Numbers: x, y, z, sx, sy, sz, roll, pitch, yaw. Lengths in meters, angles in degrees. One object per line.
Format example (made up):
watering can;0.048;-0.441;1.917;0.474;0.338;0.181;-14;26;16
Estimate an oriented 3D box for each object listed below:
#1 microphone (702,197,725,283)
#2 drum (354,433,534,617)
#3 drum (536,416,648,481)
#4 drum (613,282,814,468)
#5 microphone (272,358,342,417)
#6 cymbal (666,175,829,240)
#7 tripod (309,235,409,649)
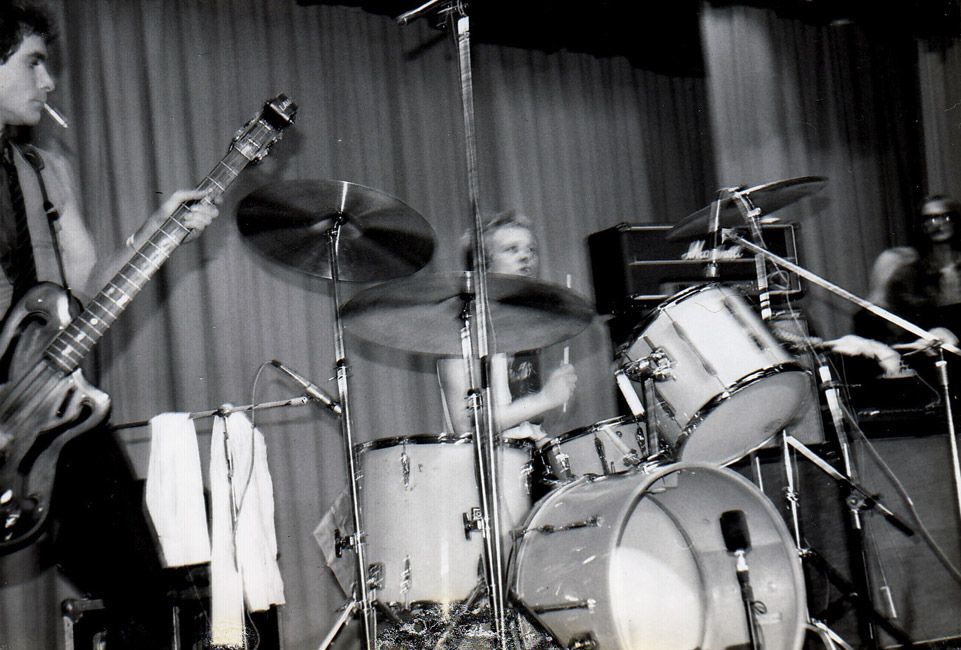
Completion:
microphone;1.155;-0.439;6.820;0.126;0.085;0.590;0;-43;7
drum;-0.298;0.866;6.125;0.792;0.734;0.756;4;-11;-29
drum;0.493;0.536;5.906;0.364;0.132;0.272;-16;-8;-4
drum;0.968;0.267;5.968;0.888;0.595;0.787;-19;-41;-11
microphone;-0.799;0.293;6.339;0.090;0.360;0.096;-50;-23;-11
cymbal;1.258;-0.559;6.648;0.461;0.100;0.464;-25;-17;34
tripod;-0.586;0.486;5.861;0.201;1.740;0.394;0;-17;-18
